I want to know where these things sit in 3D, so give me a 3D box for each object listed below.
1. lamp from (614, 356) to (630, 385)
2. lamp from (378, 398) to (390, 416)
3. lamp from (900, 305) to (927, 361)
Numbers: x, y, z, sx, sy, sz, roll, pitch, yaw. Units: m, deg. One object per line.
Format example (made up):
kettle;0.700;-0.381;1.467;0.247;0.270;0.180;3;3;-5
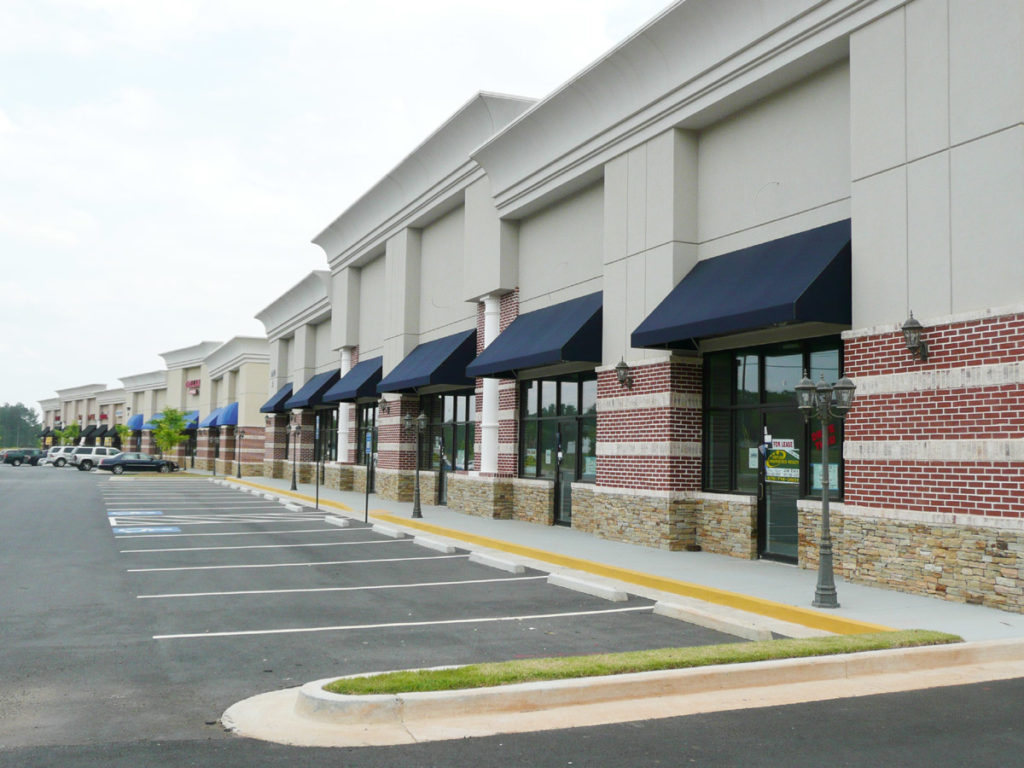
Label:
lamp;2.380;-0.272;19.228;0.331;0.628;0.484;4;-7;-29
lamp;-4.688;0.785;32.027;0.299;0.644;1.304;3;-7;-16
lamp;6.148;-0.778;13.377;0.266;0.817;0.319;7;-8;-43
